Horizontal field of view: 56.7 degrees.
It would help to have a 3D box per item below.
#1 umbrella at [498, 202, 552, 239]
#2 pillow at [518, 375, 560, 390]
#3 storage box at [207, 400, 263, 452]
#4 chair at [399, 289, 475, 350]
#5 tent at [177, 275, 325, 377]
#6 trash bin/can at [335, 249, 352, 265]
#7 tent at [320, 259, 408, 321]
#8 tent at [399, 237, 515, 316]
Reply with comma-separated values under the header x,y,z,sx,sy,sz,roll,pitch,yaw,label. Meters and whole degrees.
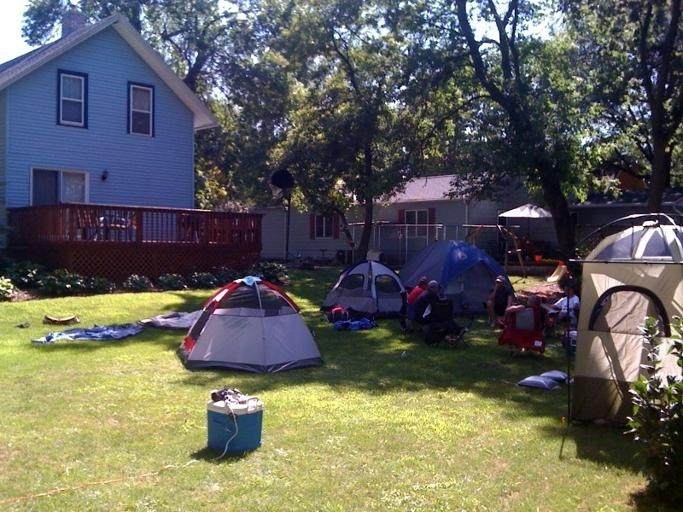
x,y,z,sx,sy,sz,roll,pitch,yaw,label
8.103,-1.273,27.673,1.667,1.853,1.632,8,8,14,umbrella
3.621,2.337,11.572,0.734,0.130,0.549,4,9,16,pillow
-1.454,2.280,8.888,0.792,0.687,0.979,1,7,-23,storage box
2.250,1.440,15.097,1.199,1.816,1.263,1,1,13,chair
-1.963,1.429,12.964,2.433,1.941,2.257,3,12,-35,tent
0.160,0.087,33.855,0.668,0.817,0.763,0,-1,7,trash bin/can
0.744,1.073,18.382,1.840,1.744,1.798,-2,10,-20,tent
3.332,0.571,19.760,2.958,2.389,2.716,-3,14,-29,tent
